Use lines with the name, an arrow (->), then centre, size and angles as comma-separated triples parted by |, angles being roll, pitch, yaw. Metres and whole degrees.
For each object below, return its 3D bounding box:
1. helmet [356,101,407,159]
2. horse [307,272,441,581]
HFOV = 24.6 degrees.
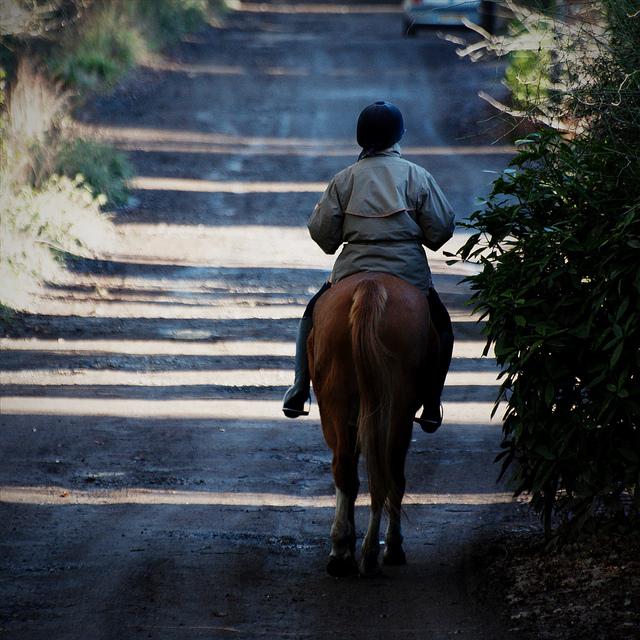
helmet -> 0.483, -1.572, 11.926 | 0.357, 0.440, 0.511 | 12, 28, 29
horse -> 0.418, 0.829, 11.361 | 0.924, 2.303, 0.807 | -1, 14, 0
